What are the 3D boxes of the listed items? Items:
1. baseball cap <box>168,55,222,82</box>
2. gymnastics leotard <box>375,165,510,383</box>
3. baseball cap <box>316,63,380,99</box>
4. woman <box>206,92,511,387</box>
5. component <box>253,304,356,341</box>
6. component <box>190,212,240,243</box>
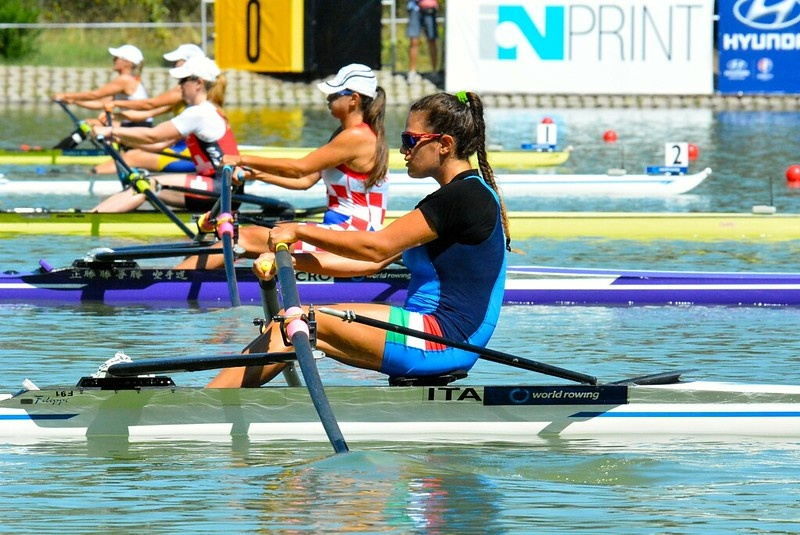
[{"bbox_3d":[-2.301,-2.254,18.776,0.502,0.186,0.293,5,-1,-10],"label":"baseball cap"},{"bbox_3d":[-0.042,0.047,14.680,1.849,1.846,1.907,2,3,6],"label":"gymnastics leotard"},{"bbox_3d":[-0.514,-1.826,16.351,0.566,0.210,0.321,5,3,-6],"label":"baseball cap"},{"bbox_3d":[-0.078,-0.271,14.640,2.032,2.499,0.844,-1,9,3],"label":"woman"},{"bbox_3d":[-0.895,0.465,14.424,0.974,0.377,0.463,1,8,20],"label":"component"},{"bbox_3d":[-1.895,-0.456,17.308,0.212,0.240,0.747,6,3,-31],"label":"component"}]
